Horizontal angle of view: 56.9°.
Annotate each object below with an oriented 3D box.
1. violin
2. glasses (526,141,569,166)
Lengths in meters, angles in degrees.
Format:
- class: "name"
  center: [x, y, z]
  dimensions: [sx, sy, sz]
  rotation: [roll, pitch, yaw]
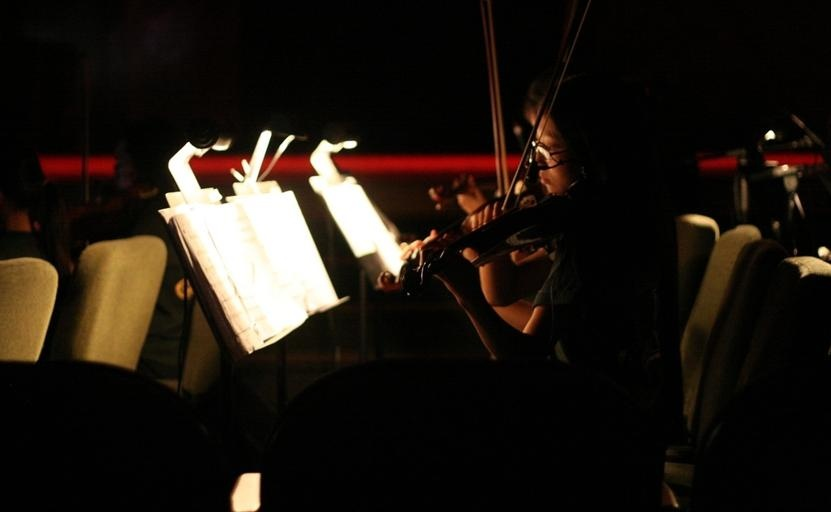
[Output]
- class: "violin"
  center: [0.265, -0.135, 3.059]
  dimensions: [0.730, 0.167, 0.367]
  rotation: [-22, 8, 2]
- class: "glasses"
  center: [0.525, -0.399, 3.035]
  dimensions: [0.116, 0.034, 0.109]
  rotation: [19, -13, -34]
